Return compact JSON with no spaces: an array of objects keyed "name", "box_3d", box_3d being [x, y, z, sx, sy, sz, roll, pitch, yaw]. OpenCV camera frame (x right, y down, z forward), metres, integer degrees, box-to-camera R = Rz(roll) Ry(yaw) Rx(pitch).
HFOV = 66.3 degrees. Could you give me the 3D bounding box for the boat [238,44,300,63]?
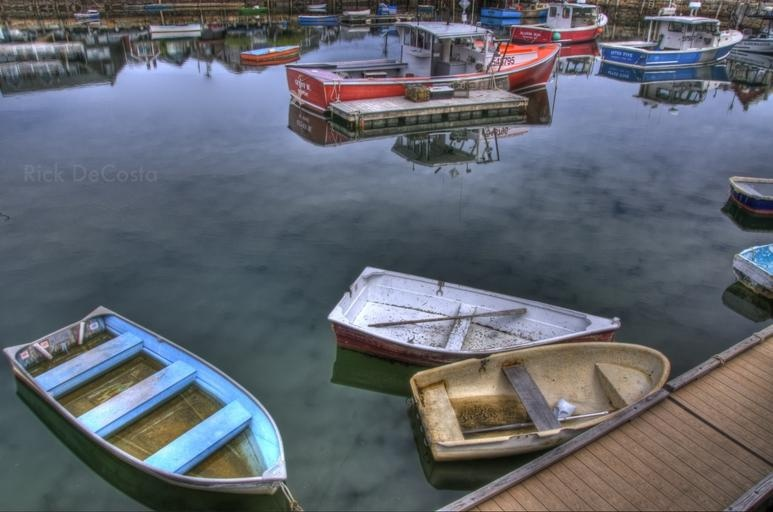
[{"name":"boat","box_3d":[-11.226,-19.894,57.930,4.695,1.130,2.737,-16,42,-21]}]
